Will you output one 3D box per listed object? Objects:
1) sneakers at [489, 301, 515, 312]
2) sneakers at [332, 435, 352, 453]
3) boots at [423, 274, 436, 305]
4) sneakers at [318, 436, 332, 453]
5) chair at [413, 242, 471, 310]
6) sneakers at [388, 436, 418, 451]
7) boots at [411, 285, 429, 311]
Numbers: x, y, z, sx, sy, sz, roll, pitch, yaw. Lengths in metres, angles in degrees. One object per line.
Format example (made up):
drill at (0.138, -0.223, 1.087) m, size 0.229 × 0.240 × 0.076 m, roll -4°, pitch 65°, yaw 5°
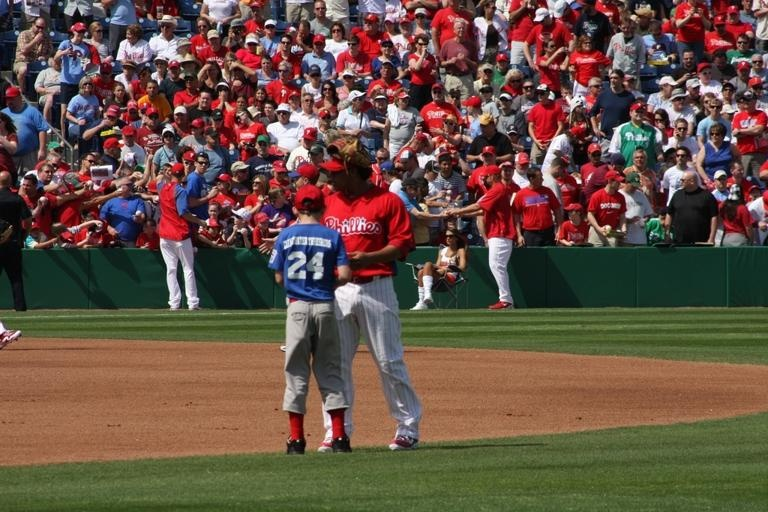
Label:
sneakers at (2.180, 0.893, 36.031) m, size 0.487 × 0.185 × 0.168 m, roll 3°, pitch 3°, yaw 3°
sneakers at (-0.601, 2.577, 27.024) m, size 0.178 × 0.170 × 0.285 m, roll 1°, pitch 4°, yaw -1°
boots at (0.831, 0.565, 35.781) m, size 0.170 × 0.503 × 0.261 m, roll -1°, pitch 5°, yaw 40°
sneakers at (-0.824, 2.597, 27.224) m, size 0.192 × 0.195 × 0.486 m, roll 2°, pitch -6°, yaw -2°
chair at (0.961, 0.159, 35.926) m, size 0.949 × 1.537 × 1.228 m, roll -1°, pitch -3°, yaw 44°
sneakers at (0.277, 2.579, 27.265) m, size 0.441 × 0.173 × 0.162 m, roll 5°, pitch -2°, yaw -12°
boots at (0.641, 0.775, 36.016) m, size 0.455 × 0.489 × 0.264 m, roll 0°, pitch 0°, yaw -2°
